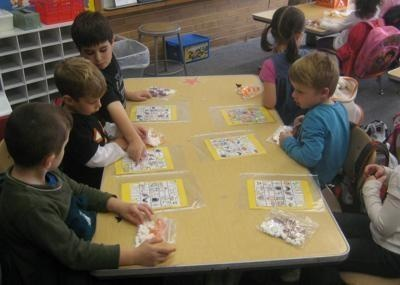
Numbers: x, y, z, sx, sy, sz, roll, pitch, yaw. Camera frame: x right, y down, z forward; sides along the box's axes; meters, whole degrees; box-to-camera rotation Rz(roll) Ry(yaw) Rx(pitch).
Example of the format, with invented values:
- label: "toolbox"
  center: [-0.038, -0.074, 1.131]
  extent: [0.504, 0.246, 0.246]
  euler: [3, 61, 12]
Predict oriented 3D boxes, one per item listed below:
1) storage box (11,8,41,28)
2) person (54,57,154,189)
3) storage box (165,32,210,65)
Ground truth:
- label: "storage box"
  center: [-1.688, -1.205, 2.889]
  extent: [0.228, 0.127, 0.127]
  euler: [18, 37, 21]
- label: "person"
  center: [-0.558, -0.091, 1.720]
  extent: [0.500, 0.747, 0.385]
  euler: [-17, 57, -19]
- label: "storage box"
  center: [-0.193, -1.484, 4.651]
  extent: [0.643, 0.353, 0.484]
  euler: [-15, 35, -22]
